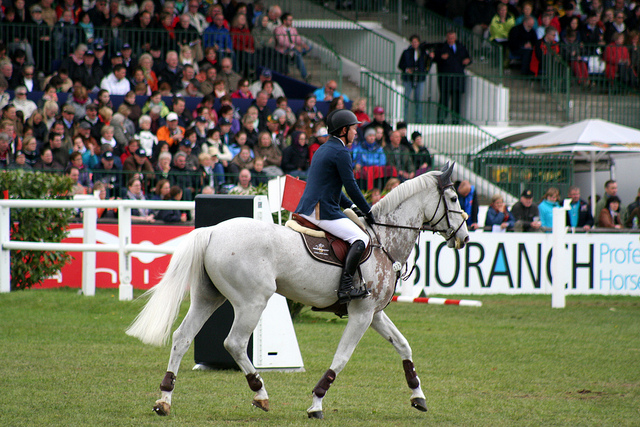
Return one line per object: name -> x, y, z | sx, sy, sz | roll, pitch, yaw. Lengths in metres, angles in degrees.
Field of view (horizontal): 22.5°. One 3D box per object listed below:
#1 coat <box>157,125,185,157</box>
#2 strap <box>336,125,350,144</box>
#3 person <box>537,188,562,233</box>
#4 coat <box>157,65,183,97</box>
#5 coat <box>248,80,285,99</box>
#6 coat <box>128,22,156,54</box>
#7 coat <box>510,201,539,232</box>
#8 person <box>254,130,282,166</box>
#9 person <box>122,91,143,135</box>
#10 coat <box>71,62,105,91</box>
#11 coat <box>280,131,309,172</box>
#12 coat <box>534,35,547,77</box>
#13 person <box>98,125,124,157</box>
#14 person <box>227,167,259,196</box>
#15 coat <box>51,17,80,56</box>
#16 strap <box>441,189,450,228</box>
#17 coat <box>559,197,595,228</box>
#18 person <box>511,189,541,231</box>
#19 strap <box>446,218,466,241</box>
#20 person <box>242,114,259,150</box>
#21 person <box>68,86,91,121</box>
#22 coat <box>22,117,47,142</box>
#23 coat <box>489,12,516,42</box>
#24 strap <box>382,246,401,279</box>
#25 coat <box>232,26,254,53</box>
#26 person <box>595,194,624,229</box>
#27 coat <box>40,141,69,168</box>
coat -> -4.190, -1.920, 44.740 | 0.623, 0.896, 0.324 | -5, -23, 10
strap -> 0.507, -1.835, 35.922 | 0.293, 0.364, 0.082 | -2, -10, 13
person -> 6.474, -0.202, 44.864 | 0.670, 1.077, 2.279 | 1, 0, 9
coat -> -4.327, -4.002, 46.642 | 0.642, 1.004, 0.351 | -5, -4, -32
coat -> -1.605, -3.756, 47.649 | 1.119, 0.601, 1.192 | 1, 0, -8
coat -> -5.279, -5.242, 47.332 | 0.872, 1.072, 0.036 | 0, 3, -16
coat -> 5.783, -0.020, 44.898 | 0.587, 0.972, 0.319 | 3, -7, -14
person -> -1.515, -1.789, 45.180 | 0.772, 0.782, 1.359 | -4, -45, 4
person -> -5.252, -2.817, 45.168 | 0.493, 1.462, 0.497 | -21, 34, -23
coat -> -6.658, -4.059, 46.231 | 0.989, 0.957, 0.433 | -5, -13, -23
coat -> -0.625, -1.708, 45.119 | 0.797, 1.424, 0.793 | 2, 9, -30
coat -> 7.112, -5.119, 51.394 | 0.367, 1.251, 0.482 | 0, 0, 8
person -> -5.742, -1.992, 43.748 | 0.450, 1.016, 0.581 | 0, 14, 38
person -> -1.955, -0.783, 41.799 | 0.867, 0.786, 0.409 | 4, -18, 7
coat -> -7.497, -5.216, 46.929 | 1.026, 1.241, 0.032 | 1, -2, -29
strap -> 2.863, -0.123, 36.359 | 0.111, 0.953, 0.045 | -10, -2, -26
coat -> 7.273, 0.061, 45.132 | 1.020, 1.202, 0.620 | 0, -7, 2
person -> 5.873, -0.095, 44.893 | 0.735, 1.282, 1.319 | -3, 17, -13
strap -> 3.113, 0.375, 36.394 | 0.052, 0.522, 0.073 | 40, -10, -22
person -> -1.976, -2.353, 45.429 | 0.305, 0.867, 0.564 | -15, -13, 28
person -> -6.680, -3.103, 44.409 | 0.543, 0.987, 0.603 | 1, 0, -8
coat -> -7.873, -2.280, 44.087 | 0.768, 0.910, 0.487 | 1, -4, -16
coat -> 6.012, -6.193, 52.338 | 0.863, 1.060, 0.531 | 0, 1, -4
strap -> 1.592, 1.047, 36.083 | 0.282, 0.861, 0.111 | -33, 6, -37
coat -> -2.342, -5.372, 48.576 | 0.667, 0.832, 0.867 | 1, 0, 2
person -> 8.145, -0.105, 44.974 | 0.683, 0.931, 1.174 | 1, 0, 22
coat -> -7.340, -1.631, 43.517 | 0.740, 0.878, 0.501 | 8, -21, -38
